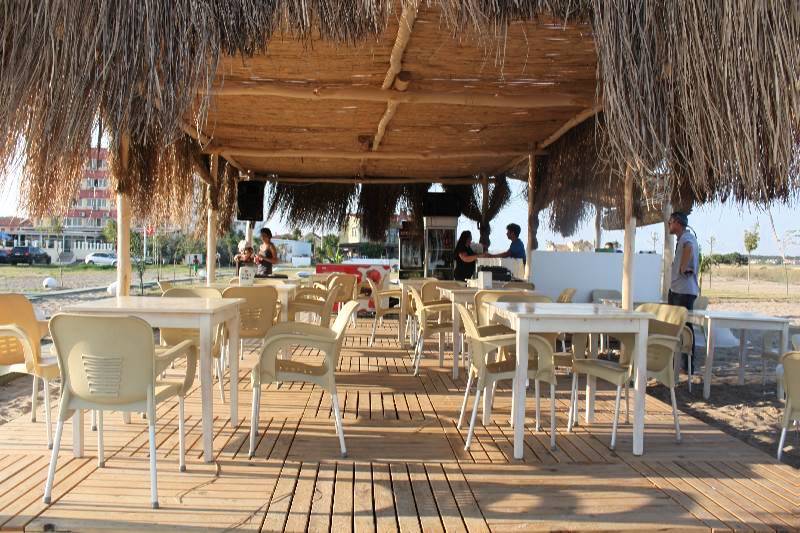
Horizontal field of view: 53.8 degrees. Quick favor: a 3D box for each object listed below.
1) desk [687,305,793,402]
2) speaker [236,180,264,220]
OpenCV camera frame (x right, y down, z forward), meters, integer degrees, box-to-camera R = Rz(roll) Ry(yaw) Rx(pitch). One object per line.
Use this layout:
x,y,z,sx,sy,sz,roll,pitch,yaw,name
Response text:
3.606,0.611,8.543,0.701,1.021,1.402,-1,3,2,desk
-2.435,-1.103,12.839,0.433,0.675,0.480,2,2,-15,speaker
